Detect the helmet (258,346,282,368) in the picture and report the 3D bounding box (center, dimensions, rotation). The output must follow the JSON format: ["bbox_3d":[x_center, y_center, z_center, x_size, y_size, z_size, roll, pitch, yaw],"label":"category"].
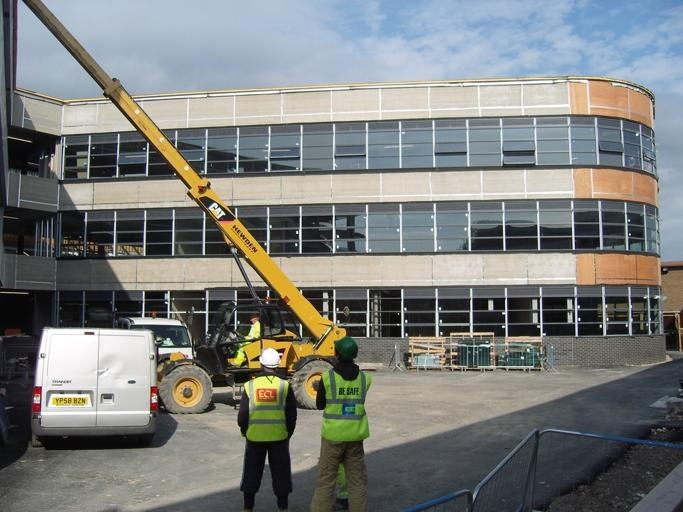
[{"bbox_3d":[-1.228,1.747,13.209,0.354,0.198,0.436,1,-1,-10],"label":"helmet"}]

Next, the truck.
[{"bbox_3d":[-5.200,2.686,16.327,2.243,1.444,3.202,1,-4,-14],"label":"truck"}]

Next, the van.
[{"bbox_3d":[-5.926,2.660,25.502,1.802,1.291,2.727,2,-9,-26],"label":"van"}]

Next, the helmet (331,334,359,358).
[{"bbox_3d":[0.044,1.498,12.806,0.369,0.218,0.424,-1,30,-18],"label":"helmet"}]
